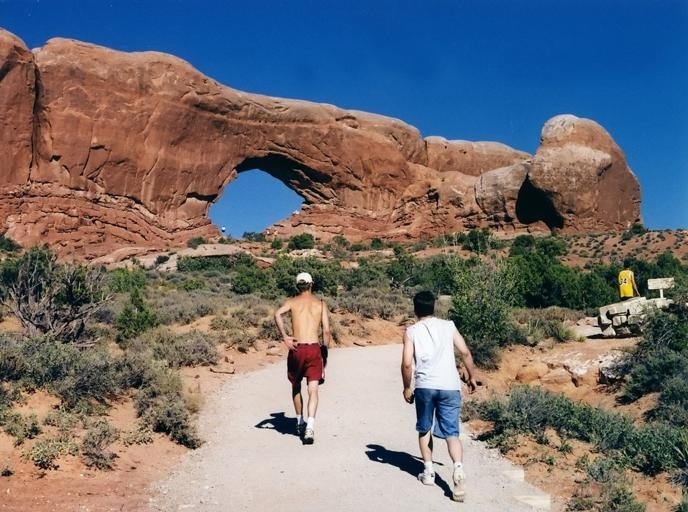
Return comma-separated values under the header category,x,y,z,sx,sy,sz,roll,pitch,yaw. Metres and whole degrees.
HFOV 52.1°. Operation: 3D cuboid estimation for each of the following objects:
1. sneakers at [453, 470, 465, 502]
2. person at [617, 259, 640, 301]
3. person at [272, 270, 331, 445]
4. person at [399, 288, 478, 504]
category,x,y,z,sx,sy,sz,roll,pitch,yaw
sneakers,1.968,3.988,12.209,0.180,0.526,0.230,-1,0,-1
person,8.232,0.912,20.598,0.444,1.237,0.266,-2,-26,35
person,-0.783,1.972,13.482,0.935,3.279,0.607,1,-4,-6
person,1.629,2.464,12.387,1.185,3.648,0.465,0,-4,9
